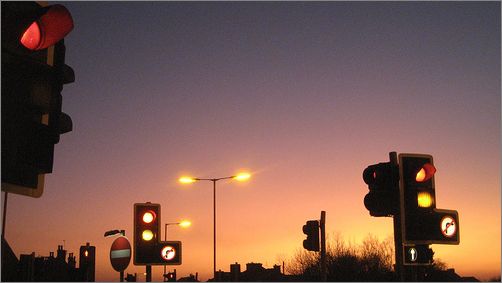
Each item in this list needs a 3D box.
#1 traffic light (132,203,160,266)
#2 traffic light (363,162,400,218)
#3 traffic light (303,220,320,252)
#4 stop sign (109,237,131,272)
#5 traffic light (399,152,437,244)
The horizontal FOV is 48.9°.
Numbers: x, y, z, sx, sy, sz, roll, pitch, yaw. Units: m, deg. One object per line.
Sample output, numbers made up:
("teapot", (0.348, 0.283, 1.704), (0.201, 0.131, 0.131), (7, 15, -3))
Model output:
("traffic light", (-2.295, 1.979, 11.940), (0.584, 1.236, 0.416), (6, -23, -12))
("traffic light", (2.173, 0.798, 9.007), (0.738, 0.865, 0.291), (-19, -30, 37))
("traffic light", (1.574, 2.467, 14.374), (0.462, 0.874, 1.288), (-3, -24, 7))
("stop sign", (-3.373, 2.827, 14.229), (0.497, 0.922, 0.490), (7, -24, -15))
("traffic light", (2.650, 0.869, 8.713), (0.583, 1.386, 0.475), (-5, -23, 12))
